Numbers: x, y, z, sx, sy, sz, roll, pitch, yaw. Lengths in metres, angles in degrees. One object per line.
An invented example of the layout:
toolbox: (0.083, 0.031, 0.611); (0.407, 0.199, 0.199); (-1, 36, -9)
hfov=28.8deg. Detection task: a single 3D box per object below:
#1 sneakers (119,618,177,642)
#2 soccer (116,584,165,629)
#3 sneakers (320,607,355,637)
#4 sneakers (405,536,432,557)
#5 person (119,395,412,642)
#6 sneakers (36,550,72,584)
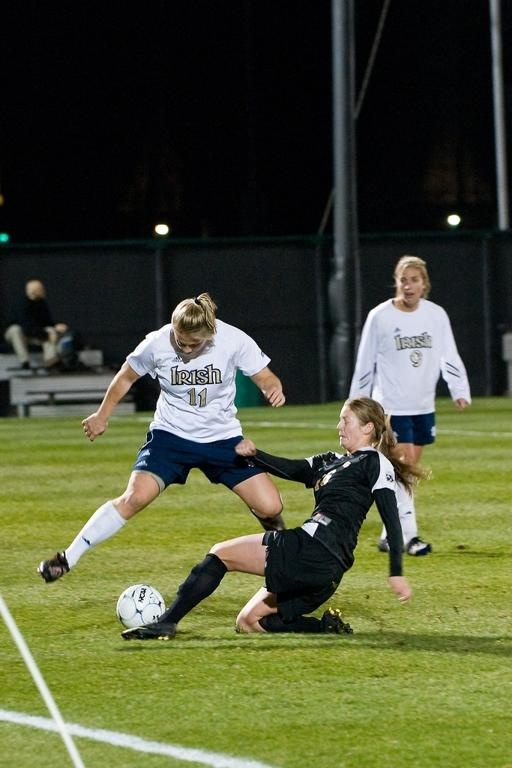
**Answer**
sneakers: (-0.413, 1.007, 4.015); (0.256, 0.079, 0.107); (1, 15, 3)
soccer: (-0.479, 0.911, 4.216); (0.210, 0.170, 0.208); (-15, -5, -8)
sneakers: (0.331, 1.002, 4.190); (0.111, 0.118, 0.087); (-45, 1, 22)
sneakers: (0.963, 0.968, 5.883); (0.079, 0.078, 0.200); (1, 4, 10)
person: (0.085, 0.567, 4.004); (1.253, 1.003, 0.564); (3, -7, 16)
sneakers: (-0.891, 0.813, 4.405); (0.160, 0.115, 0.075); (-37, 9, -25)
